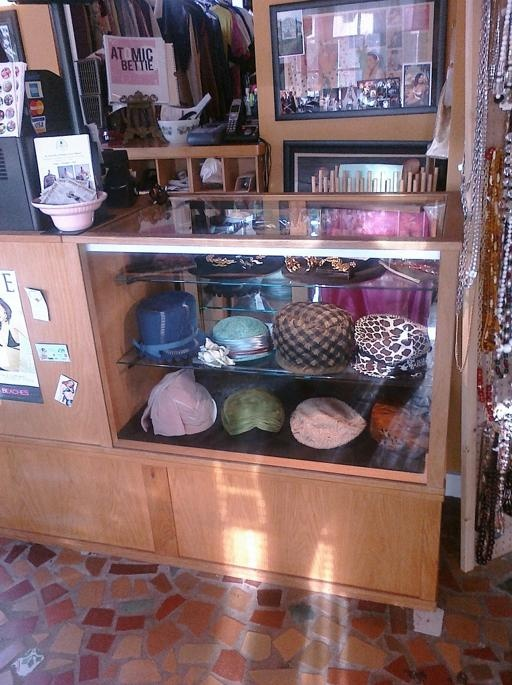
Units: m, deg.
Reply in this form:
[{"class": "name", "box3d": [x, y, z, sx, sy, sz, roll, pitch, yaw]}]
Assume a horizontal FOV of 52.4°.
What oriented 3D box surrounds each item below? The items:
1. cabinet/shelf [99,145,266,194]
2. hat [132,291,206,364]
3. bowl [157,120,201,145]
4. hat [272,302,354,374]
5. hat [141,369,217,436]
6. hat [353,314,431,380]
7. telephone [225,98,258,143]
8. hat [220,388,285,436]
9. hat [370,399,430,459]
[{"class": "cabinet/shelf", "box3d": [-0.306, -1.035, 3.084, 0.844, 0.267, 0.417, 6, 25, 19]}, {"class": "hat", "box3d": [-0.275, -0.071, 1.631, 0.214, 0.162, 0.242, 22, 39, 27]}, {"class": "bowl", "box3d": [-0.460, -1.240, 3.104, 0.169, 0.100, 0.165, -1, 35, 1]}, {"class": "hat", "box3d": [0.142, -0.014, 1.382, 0.197, 0.139, 0.193, -3, 33, -1]}, {"class": "hat", "box3d": [-0.231, 0.195, 1.654, 0.211, 0.162, 0.270, -3, 22, 16]}, {"class": "hat", "box3d": [0.357, 0.000, 1.362, 0.193, 0.121, 0.146, -1, 15, -3]}, {"class": "telephone", "box3d": [-0.090, -1.262, 2.966, 0.196, 0.231, 0.425, -3, 23, 0]}, {"class": "hat", "box3d": [-0.002, 0.202, 1.560, 0.198, 0.066, 0.205, -2, 27, 3]}, {"class": "hat", "box3d": [0.395, 0.236, 1.435, 0.145, 0.063, 0.214, -15, 14, -7]}]
